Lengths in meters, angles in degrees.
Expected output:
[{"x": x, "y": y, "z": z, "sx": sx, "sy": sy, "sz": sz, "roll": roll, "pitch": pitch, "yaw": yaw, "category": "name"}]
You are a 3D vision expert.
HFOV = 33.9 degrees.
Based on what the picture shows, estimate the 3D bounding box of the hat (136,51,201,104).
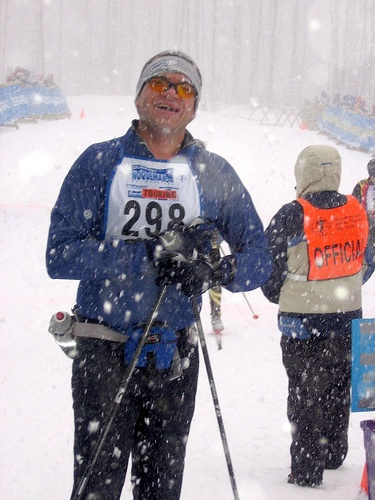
[{"x": -0.069, "y": -0.667, "z": 2.232, "sx": 0.189, "sy": 0.184, "sz": 0.231, "roll": 8, "pitch": -22, "yaw": -2, "category": "hat"}]

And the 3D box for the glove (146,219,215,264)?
[{"x": -0.023, "y": -0.023, "z": 2.058, "sx": 0.211, "sy": 0.124, "sz": 0.079, "roll": -14, "pitch": 37, "yaw": -21, "category": "glove"}]

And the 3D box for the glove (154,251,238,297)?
[{"x": 0.035, "y": 0.062, "z": 2.020, "sx": 0.209, "sy": 0.087, "sz": 0.155, "roll": -4, "pitch": 14, "yaw": -33, "category": "glove"}]
